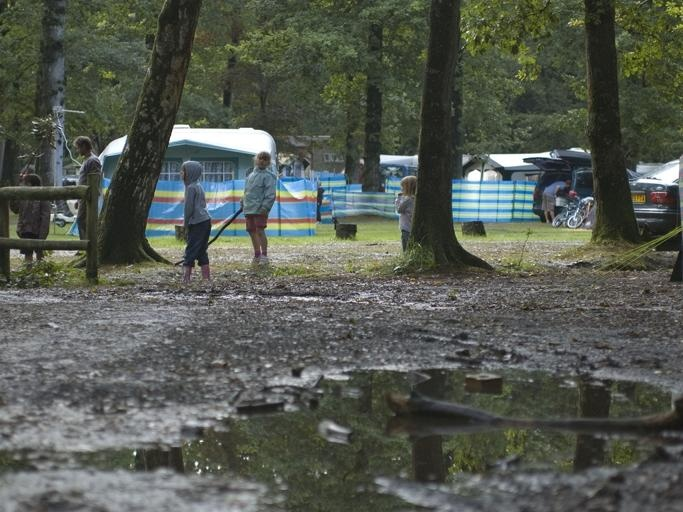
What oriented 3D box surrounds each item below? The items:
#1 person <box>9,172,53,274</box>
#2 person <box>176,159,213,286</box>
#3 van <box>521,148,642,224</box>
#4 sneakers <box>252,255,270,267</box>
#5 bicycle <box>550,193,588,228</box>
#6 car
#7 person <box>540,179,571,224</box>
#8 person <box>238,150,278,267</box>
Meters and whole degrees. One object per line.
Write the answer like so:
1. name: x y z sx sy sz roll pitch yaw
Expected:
1. person: -5.007 -0.652 16.474 0.617 1.483 3.550 -1 2 -18
2. person: -2.134 -0.537 15.027 0.401 1.751 0.954 -1 1 -9
3. van: 8.711 -2.424 35.910 4.285 2.748 2.456 -9 9 -35
4. sneakers: -1.353 0.061 17.359 0.141 0.168 0.346 -1 7 -11
5. bicycle: 7.431 -1.403 32.726 0.838 0.786 1.448 -15 13 -4
6. car: 6.610 -1.313 21.262 0.990 0.863 2.497 -9 22 33
7. person: 7.221 -1.893 34.432 0.744 1.466 0.918 3 -1 15
8. person: -1.403 -0.854 17.533 0.581 1.907 0.749 -1 1 -6
